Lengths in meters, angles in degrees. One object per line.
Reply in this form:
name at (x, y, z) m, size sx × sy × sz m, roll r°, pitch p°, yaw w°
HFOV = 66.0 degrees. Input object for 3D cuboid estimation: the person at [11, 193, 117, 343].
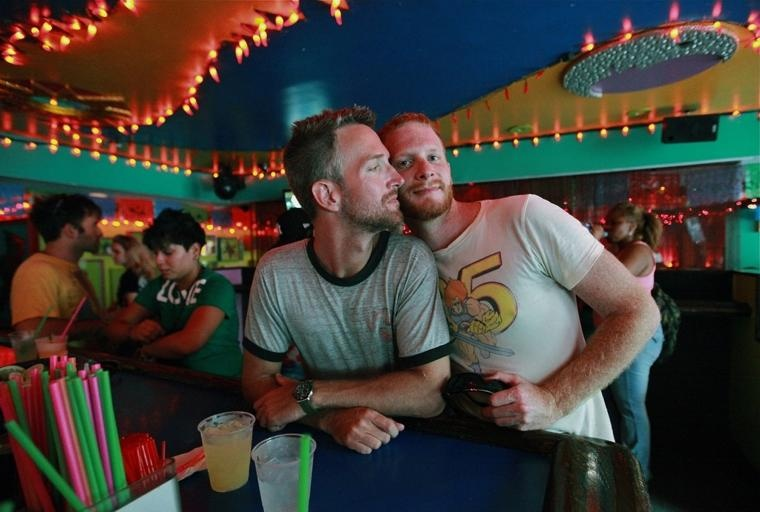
person at (-2.619, 0.076, 4.849) m, size 0.783 × 1.053 × 0.621 m, roll -9°, pitch 5°, yaw -36°

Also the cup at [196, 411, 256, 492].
cup at (-0.719, 1.003, 3.101) m, size 0.350 × 0.347 × 0.339 m, roll -1°, pitch 6°, yaw 0°

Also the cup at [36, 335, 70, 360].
cup at (-2.063, 0.583, 3.713) m, size 0.156 × 0.133 × 0.172 m, roll 0°, pitch 3°, yaw -12°

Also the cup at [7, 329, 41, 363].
cup at (-2.297, 0.579, 3.882) m, size 0.221 × 0.238 × 0.220 m, roll 3°, pitch 5°, yaw 0°

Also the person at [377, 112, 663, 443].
person at (0.799, 0.021, 3.392) m, size 1.405 × 1.864 × 0.516 m, roll -6°, pitch 4°, yaw 2°

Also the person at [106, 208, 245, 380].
person at (-1.573, 0.304, 4.524) m, size 0.882 × 0.958 × 0.563 m, roll -3°, pitch 5°, yaw 36°
